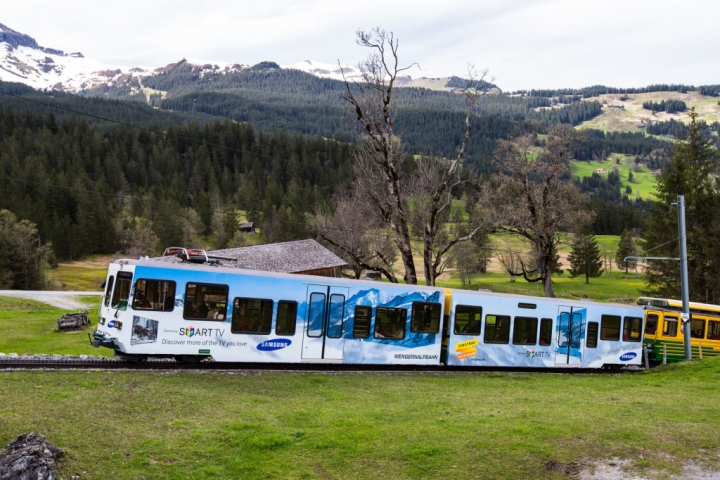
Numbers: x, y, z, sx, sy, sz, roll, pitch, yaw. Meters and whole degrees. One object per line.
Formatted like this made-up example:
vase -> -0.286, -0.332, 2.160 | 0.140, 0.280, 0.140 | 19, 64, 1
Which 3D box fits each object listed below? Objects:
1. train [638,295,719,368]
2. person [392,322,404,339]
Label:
train -> 21.508, 6.179, 45.221 | 5.642, 4.131, 1.666 | 1, 10, -9
person -> 2.100, 4.978, 36.868 | 0.607, 0.801, 0.927 | -1, -11, 2
